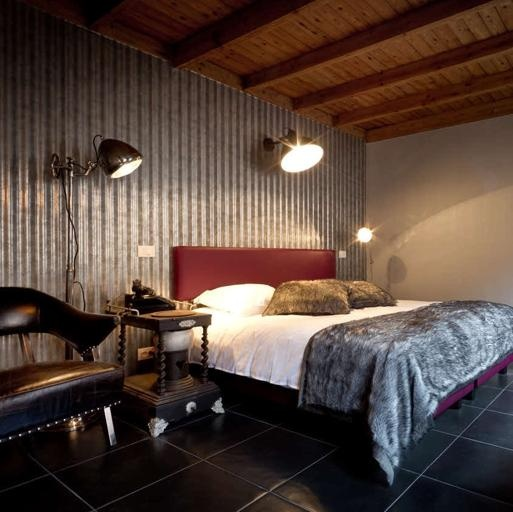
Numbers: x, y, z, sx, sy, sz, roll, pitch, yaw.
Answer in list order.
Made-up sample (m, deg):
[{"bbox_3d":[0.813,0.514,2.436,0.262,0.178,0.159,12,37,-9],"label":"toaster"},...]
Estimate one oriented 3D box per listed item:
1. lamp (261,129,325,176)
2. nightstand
[{"bbox_3d":[0.393,-1.192,4.788,0.628,0.256,0.483,2,0,11],"label":"lamp"},{"bbox_3d":[-0.531,0.793,3.487,0.829,1.006,0.782,-1,-2,44],"label":"nightstand"}]
